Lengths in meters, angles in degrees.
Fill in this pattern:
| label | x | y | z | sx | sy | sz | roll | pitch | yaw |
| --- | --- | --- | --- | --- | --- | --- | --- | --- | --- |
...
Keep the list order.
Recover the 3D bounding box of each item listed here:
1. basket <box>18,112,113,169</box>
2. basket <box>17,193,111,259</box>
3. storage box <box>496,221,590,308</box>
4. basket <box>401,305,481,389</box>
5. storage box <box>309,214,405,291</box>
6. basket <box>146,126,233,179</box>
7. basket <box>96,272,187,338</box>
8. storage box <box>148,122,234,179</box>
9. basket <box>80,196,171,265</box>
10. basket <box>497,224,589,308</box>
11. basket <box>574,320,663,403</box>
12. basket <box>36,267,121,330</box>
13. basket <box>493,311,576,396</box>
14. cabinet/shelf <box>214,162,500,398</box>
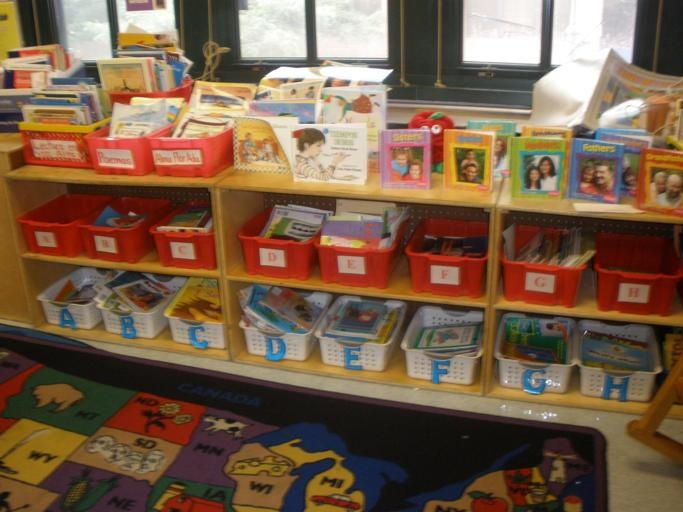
| label | x | y | z | sx | sy | sz | roll | pitch | yaw |
| --- | --- | --- | --- | --- | --- | --- | --- | --- | --- |
| basket | -1.528 | -0.646 | 2.943 | 0.447 | 0.185 | 0.361 | -1 | 22 | -7 |
| basket | -1.643 | -0.185 | 3.204 | 0.412 | 0.167 | 0.478 | 8 | 21 | 12 |
| storage box | 0.987 | 0.009 | 2.577 | 0.493 | 0.202 | 0.502 | 5 | 16 | 17 |
| basket | 0.546 | 0.451 | 2.768 | 0.431 | 0.135 | 0.452 | 5 | 24 | 17 |
| storage box | 0.127 | -0.015 | 2.682 | 0.354 | 0.125 | 0.424 | 7 | 20 | 18 |
| basket | -0.761 | -0.519 | 2.669 | 0.290 | 0.130 | 0.383 | 6 | 17 | 16 |
| basket | -1.181 | 0.279 | 3.187 | 0.404 | 0.147 | 0.501 | 5 | 15 | 12 |
| storage box | -0.752 | -0.522 | 2.698 | 0.301 | 0.134 | 0.392 | 5 | 17 | 15 |
| basket | -1.222 | -0.169 | 3.090 | 0.430 | 0.169 | 0.481 | 6 | 20 | 11 |
| basket | 1.021 | 0.013 | 2.630 | 0.490 | 0.204 | 0.497 | 5 | 17 | 18 |
| basket | 1.363 | 0.504 | 2.592 | 0.408 | 0.155 | 0.437 | 6 | 26 | 18 |
| basket | -1.606 | 0.256 | 3.309 | 0.387 | 0.143 | 0.482 | 6 | 18 | 13 |
| basket | 0.983 | 0.482 | 2.672 | 0.448 | 0.166 | 0.436 | 5 | 19 | 18 |
| cabinet/shelf | 0.088 | 0.131 | 2.692 | 1.512 | 0.725 | 0.626 | 5 | 30 | 11 |
